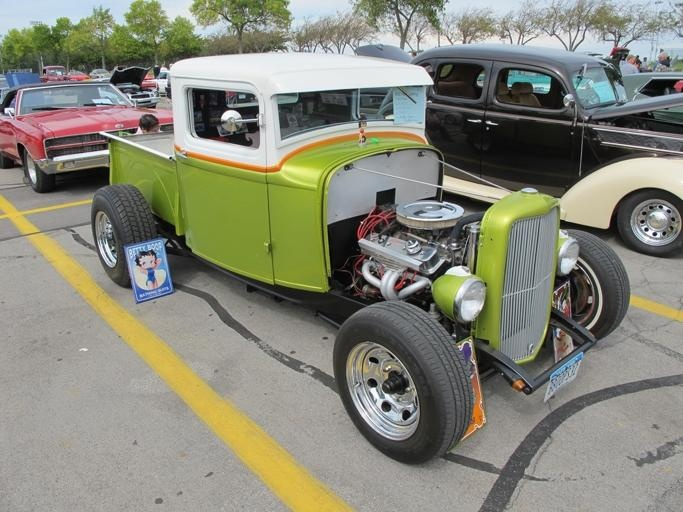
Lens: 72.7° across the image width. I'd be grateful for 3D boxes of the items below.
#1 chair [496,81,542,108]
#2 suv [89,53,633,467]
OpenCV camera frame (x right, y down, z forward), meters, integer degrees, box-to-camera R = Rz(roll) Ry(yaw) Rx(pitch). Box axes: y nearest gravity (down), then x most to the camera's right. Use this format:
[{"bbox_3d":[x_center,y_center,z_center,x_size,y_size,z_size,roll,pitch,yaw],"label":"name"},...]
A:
[{"bbox_3d":[2.521,-2.332,6.684,0.479,0.436,0.407,-7,14,-33],"label":"chair"},{"bbox_3d":[-0.195,-0.562,4.706,4.914,2.279,2.552,20,27,40],"label":"suv"}]
